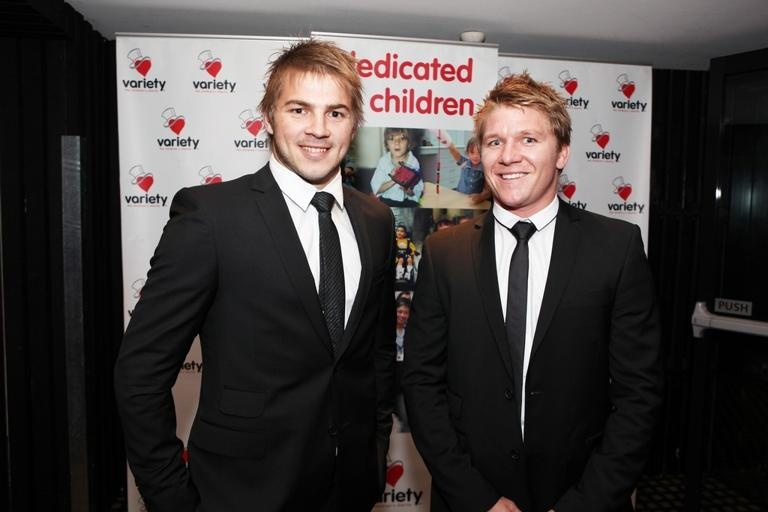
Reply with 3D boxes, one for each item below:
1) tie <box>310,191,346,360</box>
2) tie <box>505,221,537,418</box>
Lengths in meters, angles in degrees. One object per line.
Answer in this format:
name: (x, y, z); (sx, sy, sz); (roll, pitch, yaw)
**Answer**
tie: (-0.286, -0.096, 3.082); (0.128, 0.124, 0.797); (-13, 43, 0)
tie: (0.695, 0.289, 3.003); (0.135, 1.032, 0.132); (2, -9, 5)
